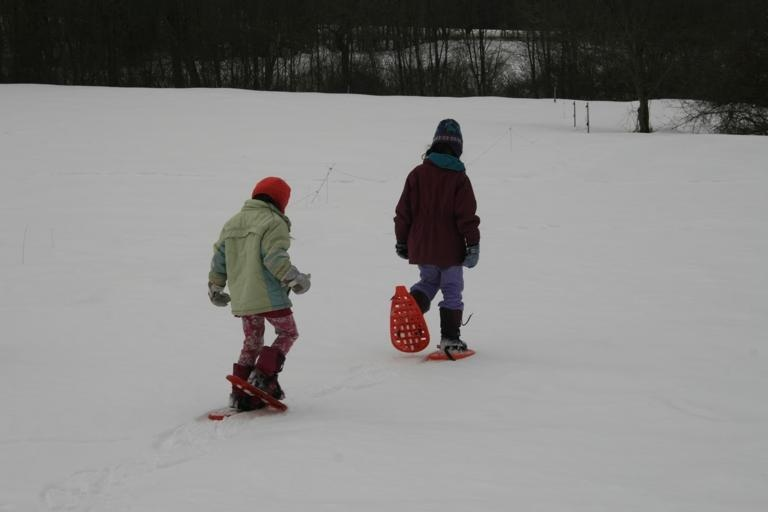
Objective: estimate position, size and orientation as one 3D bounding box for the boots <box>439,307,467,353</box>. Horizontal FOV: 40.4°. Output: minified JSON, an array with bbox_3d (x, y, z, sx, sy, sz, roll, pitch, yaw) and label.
[{"bbox_3d":[0.797,0.860,12.201,0.305,0.524,0.368,-2,12,-20],"label":"boots"}]

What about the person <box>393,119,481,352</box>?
[{"bbox_3d":[0.645,-0.226,12.193,0.743,2.647,0.855,-5,12,-33],"label":"person"}]

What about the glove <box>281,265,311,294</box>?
[{"bbox_3d":[-0.961,0.259,11.415,0.290,0.322,0.187,1,11,-6],"label":"glove"}]

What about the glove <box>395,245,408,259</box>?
[{"bbox_3d":[0.209,-0.053,12.449,0.124,0.159,0.167,2,18,13],"label":"glove"}]

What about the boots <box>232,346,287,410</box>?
[{"bbox_3d":[-1.335,1.342,11.389,0.652,0.713,0.510,-5,-13,21],"label":"boots"}]

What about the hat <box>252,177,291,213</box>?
[{"bbox_3d":[-1.272,-0.667,11.660,0.436,0.393,0.317,-4,-14,27],"label":"hat"}]

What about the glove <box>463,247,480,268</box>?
[{"bbox_3d":[1.029,0.020,12.290,0.185,0.344,0.230,1,0,7],"label":"glove"}]
